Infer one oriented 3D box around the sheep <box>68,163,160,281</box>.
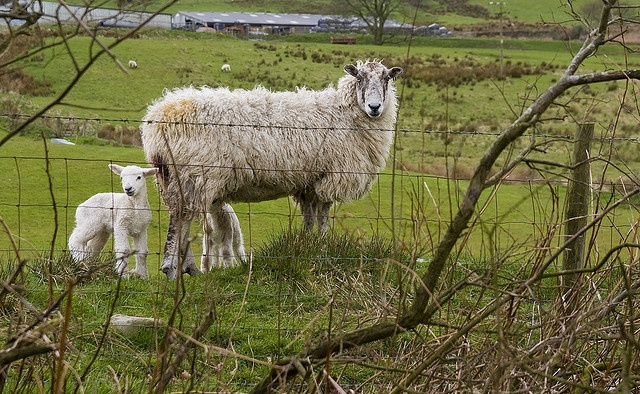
[{"bbox_3d":[-4.110,0.449,17.686,2.323,2.167,1.130,1,2,42],"label":"sheep"}]
